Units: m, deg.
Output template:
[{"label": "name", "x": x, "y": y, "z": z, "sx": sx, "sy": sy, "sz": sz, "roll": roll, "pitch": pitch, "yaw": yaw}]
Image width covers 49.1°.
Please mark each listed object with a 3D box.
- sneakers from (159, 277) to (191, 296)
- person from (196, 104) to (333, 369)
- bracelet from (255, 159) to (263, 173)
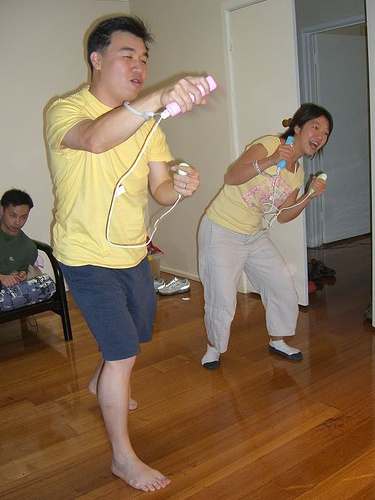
[{"label": "sneakers", "x": -0.117, "y": 0.313, "z": 3.659, "sx": 0.324, "sy": 0.130, "sz": 0.112, "roll": -5, "pitch": 23, "yaw": -4}, {"label": "person", "x": 0.390, "y": -0.059, "z": 2.226, "sx": 0.662, "sy": 1.365, "sz": 0.646, "roll": 2, "pitch": 11, "yaw": 39}, {"label": "bracelet", "x": 0.318, "y": -0.373, "z": 1.813, "sx": 0.013, "sy": 0.043, "sz": 0.039, "roll": -9, "pitch": 13, "yaw": -15}]
